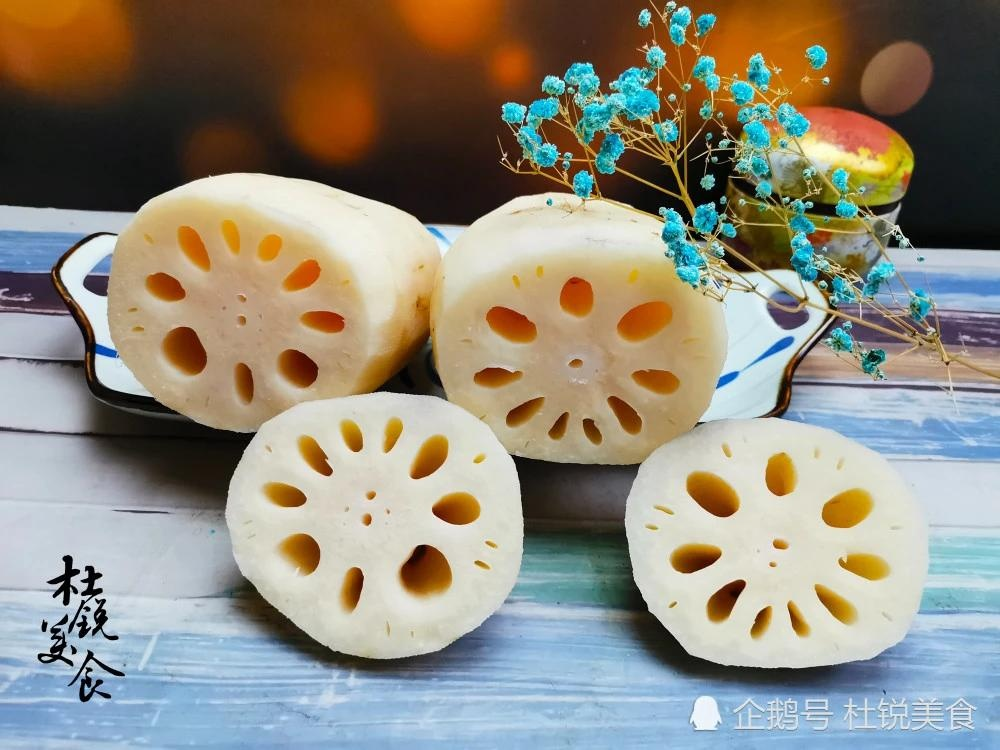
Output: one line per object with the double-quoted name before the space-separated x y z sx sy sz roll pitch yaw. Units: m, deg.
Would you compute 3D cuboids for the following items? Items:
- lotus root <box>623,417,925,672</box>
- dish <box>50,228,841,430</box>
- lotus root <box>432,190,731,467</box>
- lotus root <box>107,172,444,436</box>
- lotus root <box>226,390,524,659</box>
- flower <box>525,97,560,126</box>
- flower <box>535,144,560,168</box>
"lotus root" 0.257 0.156 1.126 0.281 0.142 0.193 12 42 6
"dish" -0.054 -0.034 1.337 0.680 0.113 0.334 1 35 0
"lotus root" 0.060 -0.024 1.255 0.313 0.222 0.171 -1 7 -21
"lotus root" -0.224 -0.073 1.275 0.288 0.213 0.288 11 13 11
"lotus root" -0.111 0.132 1.131 0.263 0.154 0.210 30 47 23
"flower" 0.039 -0.254 1.140 0.031 0.037 0.016 2 68 -28
"flower" 0.041 -0.206 1.142 0.023 0.024 0.022 19 19 31
